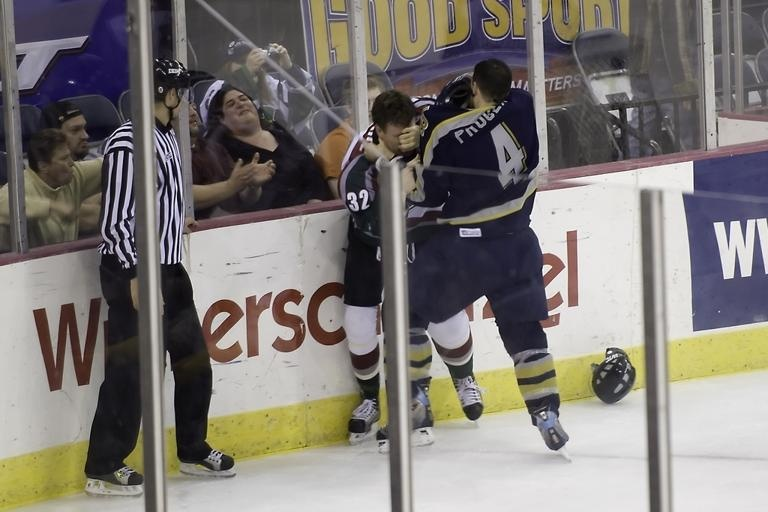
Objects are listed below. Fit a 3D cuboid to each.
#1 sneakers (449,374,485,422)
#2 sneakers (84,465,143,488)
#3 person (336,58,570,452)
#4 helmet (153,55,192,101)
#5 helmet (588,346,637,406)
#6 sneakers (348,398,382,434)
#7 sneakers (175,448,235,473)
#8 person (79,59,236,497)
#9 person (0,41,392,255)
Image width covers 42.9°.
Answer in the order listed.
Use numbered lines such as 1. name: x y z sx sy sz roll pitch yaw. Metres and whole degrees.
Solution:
1. sneakers: 0.228 0.372 2.633 0.054 0.154 0.060 -18 -2 9
2. sneakers: -0.816 0.689 3.033 0.202 0.094 0.066 1 4 0
3. person: 0.239 0.018 2.610 0.413 0.785 0.171 -5 2 9
4. helmet: -0.667 -0.562 3.061 0.132 0.131 0.101 -7 10 -15
5. helmet: 0.610 0.291 2.545 0.116 0.102 0.088 21 -49 -21
6. sneakers: -0.051 0.465 2.864 0.052 0.073 0.166 2 8 22
7. sneakers: -0.510 0.610 2.890 0.196 0.086 0.065 -2 20 -9
8. person: -0.726 0.061 2.918 0.443 1.255 0.344 -6 2 -19
9. person: -0.645 -0.344 3.267 0.753 0.323 0.242 -25 39 -25
